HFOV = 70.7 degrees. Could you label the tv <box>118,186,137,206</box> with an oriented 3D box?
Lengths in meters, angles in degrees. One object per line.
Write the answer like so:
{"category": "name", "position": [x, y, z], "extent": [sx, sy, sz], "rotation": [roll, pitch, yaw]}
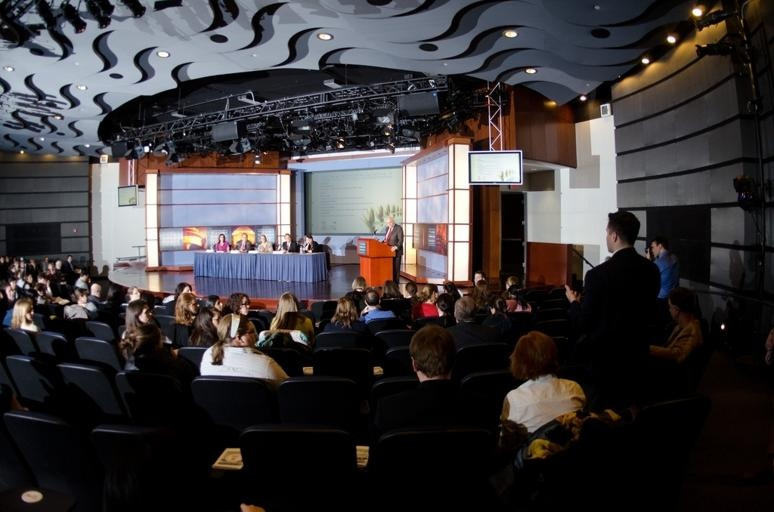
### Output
{"category": "tv", "position": [-8.658, -2.022, 18.263], "extent": [0.685, 0.499, 0.098], "rotation": [1, 0, 36]}

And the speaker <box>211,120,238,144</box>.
{"category": "speaker", "position": [-4.079, -3.201, 13.801], "extent": [0.384, 0.436, 1.040], "rotation": [-3, 2, -45]}
